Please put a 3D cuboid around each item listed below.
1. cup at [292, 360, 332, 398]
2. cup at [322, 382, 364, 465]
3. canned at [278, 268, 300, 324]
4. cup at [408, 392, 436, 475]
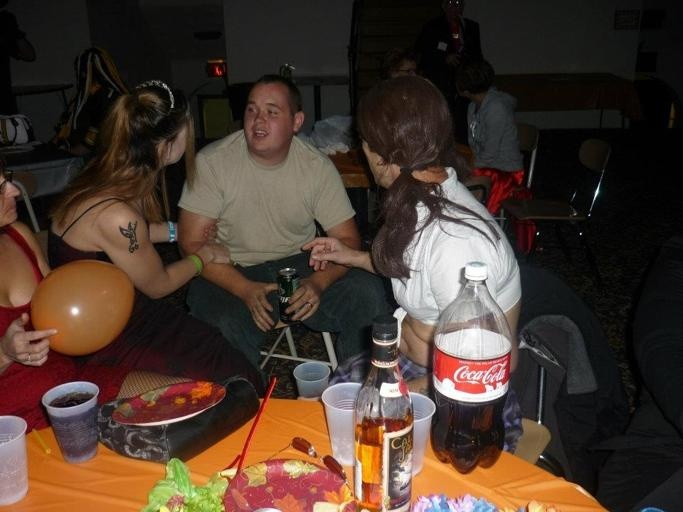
[{"bbox_3d":[-0.138,0.576,2.277,0.153,0.129,0.209,0,21,-5],"label":"cup"},{"bbox_3d":[-0.033,0.416,1.306,0.157,0.180,0.161,0,18,0],"label":"cup"},{"bbox_3d":[-0.249,0.199,2.313,0.099,0.300,0.089,0,20,-3],"label":"canned"},{"bbox_3d":[0.188,0.436,1.207,0.058,0.190,0.090,4,20,8],"label":"cup"}]
